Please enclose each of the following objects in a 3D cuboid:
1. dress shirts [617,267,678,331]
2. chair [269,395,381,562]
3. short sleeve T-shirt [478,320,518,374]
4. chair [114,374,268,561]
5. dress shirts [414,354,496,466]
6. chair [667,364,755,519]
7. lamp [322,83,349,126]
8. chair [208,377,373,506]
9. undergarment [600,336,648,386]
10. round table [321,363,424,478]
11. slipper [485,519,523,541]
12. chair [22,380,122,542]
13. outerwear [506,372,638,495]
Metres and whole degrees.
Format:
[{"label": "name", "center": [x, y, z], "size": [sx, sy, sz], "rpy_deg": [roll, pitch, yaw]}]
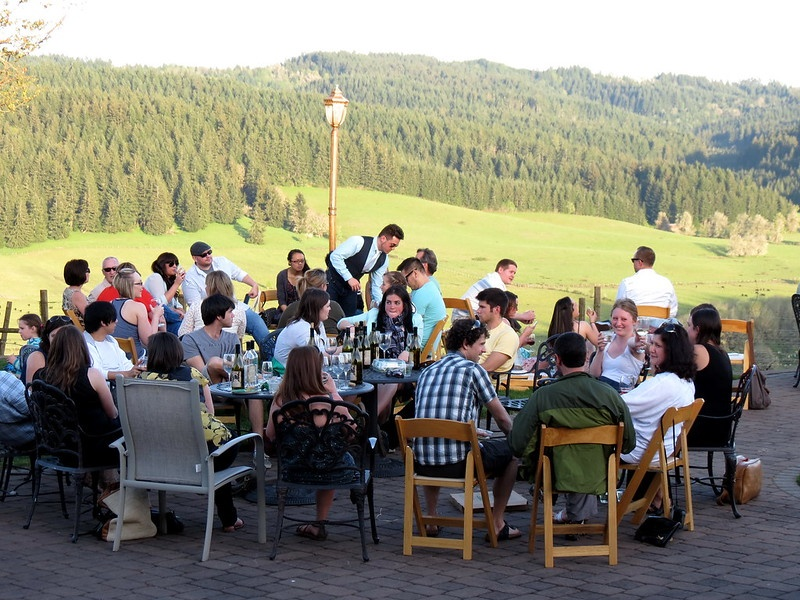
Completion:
[{"label": "dress shirts", "center": [3.439, -0.123, 11.771], "size": [0.789, 0.644, 0.648], "rpy_deg": [0, 2, 12]}, {"label": "chair", "center": [-0.654, 1.385, 7.116], "size": [0.947, 1.358, 0.997], "rpy_deg": [3, 5, 17]}, {"label": "short sleeve T-shirt", "center": [1.013, 0.483, 8.895], "size": [0.319, 0.560, 0.618], "rpy_deg": [5, -2, -21]}, {"label": "chair", "center": [-1.780, 1.360, 7.131], "size": [1.239, 1.478, 1.271], "rpy_deg": [1, -1, -12]}, {"label": "dress shirts", "center": [0.437, 0.922, 6.983], "size": [0.866, 0.939, 0.444], "rpy_deg": [2, -2, 27]}, {"label": "chair", "center": [2.919, 1.308, 8.139], "size": [0.836, 1.216, 0.911], "rpy_deg": [1, -1, -35]}, {"label": "lamp", "center": [-1.117, -3.307, 14.663], "size": [0.437, 0.782, 0.414], "rpy_deg": [2, 8, -7]}, {"label": "chair", "center": [-1.038, 1.436, 8.055], "size": [1.251, 0.963, 1.290], "rpy_deg": [-1, 3, -11]}, {"label": "undergarment", "center": [2.283, 0.621, 8.650], "size": [0.355, 0.491, 0.271], "rpy_deg": [12, -16, 48]}, {"label": "round table", "center": [-0.258, 1.271, 8.448], "size": [0.971, 0.787, 1.011], "rpy_deg": [-1, 7, 0]}, {"label": "slipper", "center": [0.869, 1.943, 7.142], "size": [0.259, 0.108, 0.135], "rpy_deg": [-5, 7, -19]}, {"label": "chair", "center": [-2.800, 1.312, 7.374], "size": [0.747, 1.307, 0.896], "rpy_deg": [2, -1, 8]}, {"label": "outerwear", "center": [1.411, 1.001, 6.849], "size": [1.014, 0.916, 0.613], "rpy_deg": [1, 12, -20]}]
